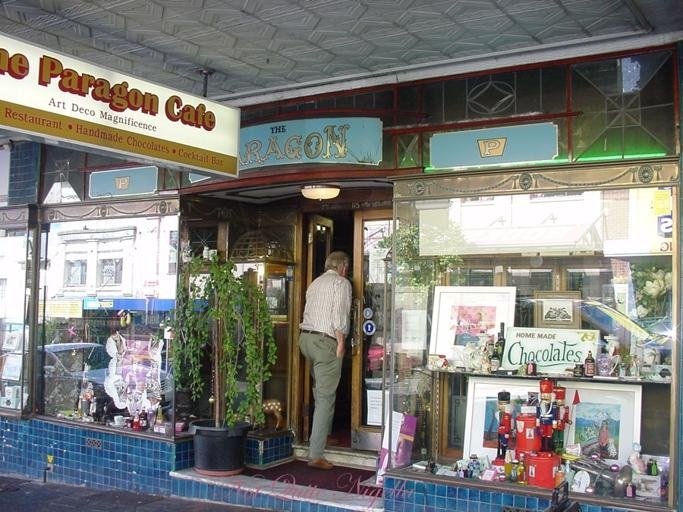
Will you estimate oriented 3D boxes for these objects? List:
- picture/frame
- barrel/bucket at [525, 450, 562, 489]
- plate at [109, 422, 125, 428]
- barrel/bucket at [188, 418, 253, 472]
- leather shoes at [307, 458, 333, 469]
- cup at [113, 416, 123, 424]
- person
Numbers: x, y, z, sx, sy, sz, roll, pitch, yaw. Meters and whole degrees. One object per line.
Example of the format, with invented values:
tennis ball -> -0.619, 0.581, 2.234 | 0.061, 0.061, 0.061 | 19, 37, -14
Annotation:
picture/frame -> 1.956, 1.098, 6.242 | 1.755, 1.207, 0.250 | 1, -9, 22
barrel/bucket -> 1.772, 1.870, 6.116 | 0.292, 0.298, 0.287 | 2, -9, 0
plate -> -2.640, 1.968, 8.167 | 0.237, 0.073, 0.053 | -2, -7, 35
barrel/bucket -> -1.358, 2.123, 7.879 | 0.750, 0.549, 0.733 | -4, -24, -2
leather shoes -> -0.228, 2.317, 7.834 | 0.295, 0.136, 0.113 | 1, -2, -7
cup -> -2.613, 1.922, 8.179 | 0.110, 0.075, 0.089 | 11, -15, -33
person -> -0.209, 1.155, 7.875 | 0.583, 2.436, 0.320 | 1, -6, 10
